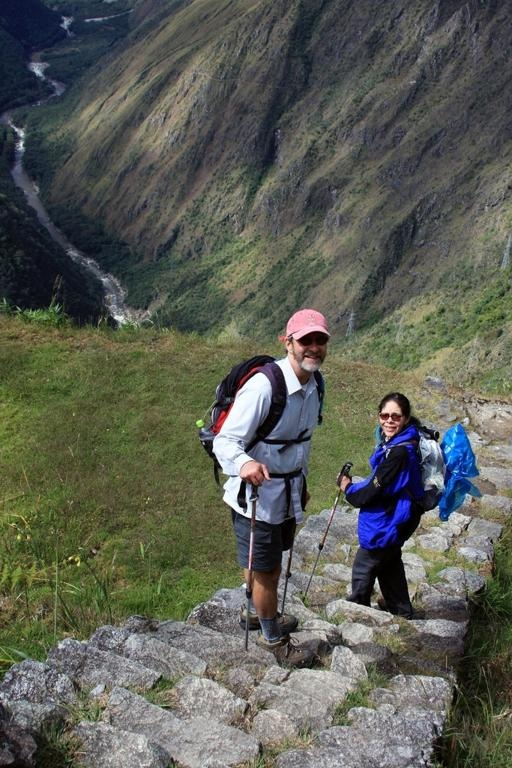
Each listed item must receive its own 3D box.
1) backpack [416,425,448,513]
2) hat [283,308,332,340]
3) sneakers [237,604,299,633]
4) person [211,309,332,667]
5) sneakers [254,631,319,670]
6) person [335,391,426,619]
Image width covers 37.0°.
[{"bbox_3d":[1.387,0.676,6.092,0.253,0.642,0.334,7,10,12],"label":"backpack"},{"bbox_3d":[0.338,-0.413,5.268,0.210,0.151,0.274,1,2,-11],"label":"hat"},{"bbox_3d":[0.137,1.727,5.595,0.501,0.224,0.193,0,13,12],"label":"sneakers"},{"bbox_3d":[0.069,0.668,5.250,0.714,2.363,1.082,6,10,4],"label":"person"},{"bbox_3d":[0.219,1.799,5.174,0.267,0.107,0.158,5,14,25],"label":"sneakers"},{"bbox_3d":[1.008,0.994,6.122,0.676,1.851,0.479,6,10,7],"label":"person"}]
